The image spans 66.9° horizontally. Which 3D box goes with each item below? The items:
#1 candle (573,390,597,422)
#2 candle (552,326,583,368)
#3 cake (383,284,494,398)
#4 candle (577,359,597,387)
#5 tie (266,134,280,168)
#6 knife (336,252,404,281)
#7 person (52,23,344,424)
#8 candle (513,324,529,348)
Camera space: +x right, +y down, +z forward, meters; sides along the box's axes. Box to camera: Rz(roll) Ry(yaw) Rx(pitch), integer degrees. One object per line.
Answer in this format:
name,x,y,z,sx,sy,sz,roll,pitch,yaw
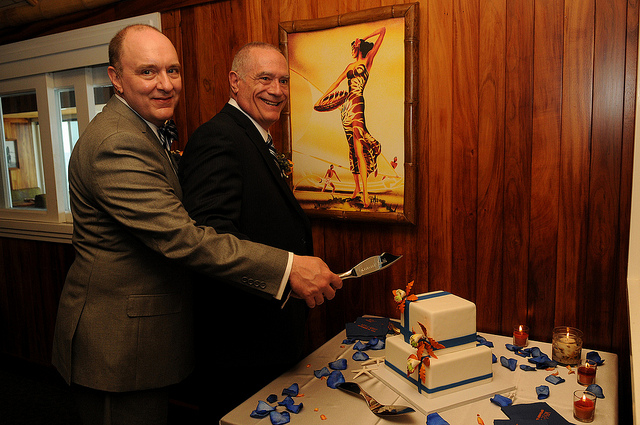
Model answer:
candle,1.008,0.739,1.855,0.086,0.116,0.094,2,6,30
candle,1.118,0.606,2.201,0.119,0.150,0.123,-3,4,-35
cake,0.543,0.530,2.115,0.452,0.361,0.485,6,8,5
candle,1.124,0.685,2.049,0.065,0.087,0.070,1,-9,17
tie,-0.239,-0.307,2.381,0.084,0.134,0.035,-4,-11,-40
knife,0.205,0.226,2.102,0.244,0.098,0.191,-4,4,1
person,-0.656,0.051,2.024,1.077,1.274,0.358,-3,3,13
candle,0.949,0.580,2.301,0.075,0.102,0.081,0,-1,31
